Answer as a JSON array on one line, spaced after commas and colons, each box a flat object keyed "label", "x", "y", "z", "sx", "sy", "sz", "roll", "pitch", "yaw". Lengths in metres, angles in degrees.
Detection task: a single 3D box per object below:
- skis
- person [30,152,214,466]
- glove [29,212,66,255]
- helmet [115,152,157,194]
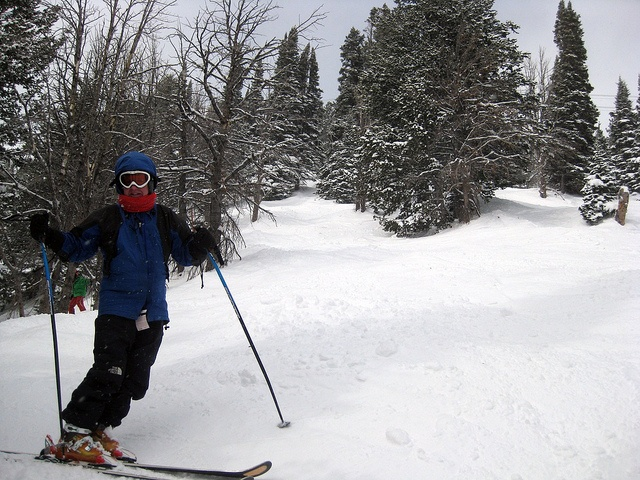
[{"label": "skis", "x": -1.799, "y": 2.160, "z": 4.708, "sx": 1.396, "sy": 0.147, "sz": 0.080, "roll": 7, "pitch": 49, "yaw": 0}, {"label": "person", "x": -2.029, "y": 0.610, "z": 5.159, "sx": 1.538, "sy": 3.048, "sz": 0.854, "roll": -4, "pitch": 6, "yaw": -33}, {"label": "glove", "x": -2.836, "y": -0.068, "z": 5.106, "sx": 0.349, "sy": 0.415, "sz": 0.256, "roll": 5, "pitch": 7, "yaw": 44}, {"label": "helmet", "x": -2.053, "y": -0.730, "z": 5.528, "sx": 0.380, "sy": 0.423, "sz": 0.497, "roll": -3, "pitch": -11, "yaw": -11}]
